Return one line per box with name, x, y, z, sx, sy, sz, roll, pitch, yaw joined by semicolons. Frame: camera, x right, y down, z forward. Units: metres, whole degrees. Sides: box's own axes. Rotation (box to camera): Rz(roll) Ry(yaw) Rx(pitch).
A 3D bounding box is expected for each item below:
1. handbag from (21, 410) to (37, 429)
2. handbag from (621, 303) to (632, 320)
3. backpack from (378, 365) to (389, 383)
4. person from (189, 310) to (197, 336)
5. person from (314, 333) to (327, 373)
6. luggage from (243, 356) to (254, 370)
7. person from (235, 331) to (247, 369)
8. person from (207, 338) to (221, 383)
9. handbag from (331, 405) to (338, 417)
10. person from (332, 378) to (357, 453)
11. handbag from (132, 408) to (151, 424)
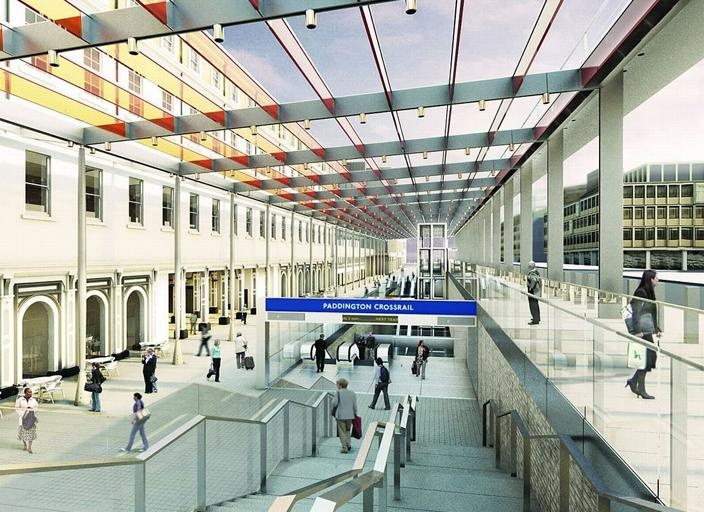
handbag;-6.950;3.473;12.293;0.320;0.384;0.165;7;0;-32
handbag;4.629;0.944;9.599;0.071;0.226;0.170;3;-2;-22
backpack;0.950;3.601;17.424;0.277;0.544;0.362;-6;-6;35
person;-7.637;3.194;27.590;0.282;1.107;1.404;-1;-5;-16
person;-1.292;3.901;23.042;0.383;1.444;1.411;-2;-5;-5
luggage;-3.707;3.833;20.519;0.346;0.502;0.589;-2;-5;-12
person;-4.039;3.419;20.722;0.347;1.307;0.943;-2;-5;-11
person;-4.587;3.421;18.911;0.414;1.353;2.068;-1;-5;-15
handbag;-0.383;3.363;12.420;0.158;0.214;0.201;-5;8;2
person;-0.171;3.459;12.494;0.497;1.582;0.442;-3;-5;-1
handbag;-4.528;3.449;12.297;0.283;0.339;0.561;-1;-5;-19
